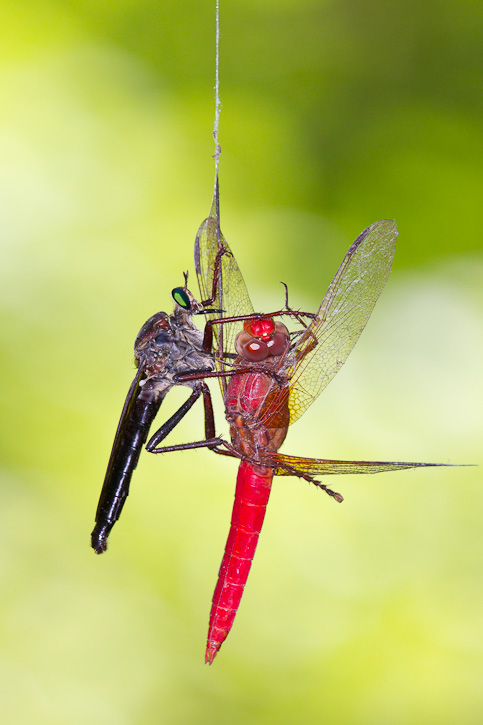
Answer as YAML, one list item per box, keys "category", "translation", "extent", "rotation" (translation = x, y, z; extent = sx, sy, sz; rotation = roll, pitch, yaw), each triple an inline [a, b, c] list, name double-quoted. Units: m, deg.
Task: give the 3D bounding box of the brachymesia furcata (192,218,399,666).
- category: "brachymesia furcata"
  translation: [0.100, 0.119, 1.191]
  extent: [0.330, 0.620, 0.393]
  rotation: [-1, -41, 26]

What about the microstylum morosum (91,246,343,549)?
- category: "microstylum morosum"
  translation: [-0.138, 0.045, 1.341]
  extent: [0.172, 0.540, 0.390]
  rotation: [21, -5, -22]
